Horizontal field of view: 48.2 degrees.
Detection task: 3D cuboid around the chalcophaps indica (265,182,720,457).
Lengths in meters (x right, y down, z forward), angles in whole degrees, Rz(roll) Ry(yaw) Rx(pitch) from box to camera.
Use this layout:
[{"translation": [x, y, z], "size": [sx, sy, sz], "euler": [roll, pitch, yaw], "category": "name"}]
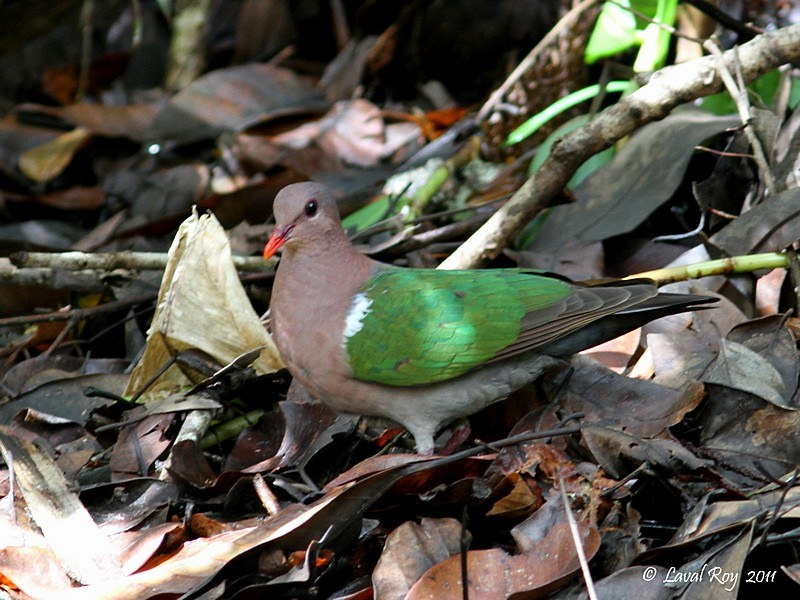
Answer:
[{"translation": [0.075, 0.073, 2.438], "size": [1.023, 0.500, 0.555], "euler": [10, 54, 21], "category": "chalcophaps indica"}]
